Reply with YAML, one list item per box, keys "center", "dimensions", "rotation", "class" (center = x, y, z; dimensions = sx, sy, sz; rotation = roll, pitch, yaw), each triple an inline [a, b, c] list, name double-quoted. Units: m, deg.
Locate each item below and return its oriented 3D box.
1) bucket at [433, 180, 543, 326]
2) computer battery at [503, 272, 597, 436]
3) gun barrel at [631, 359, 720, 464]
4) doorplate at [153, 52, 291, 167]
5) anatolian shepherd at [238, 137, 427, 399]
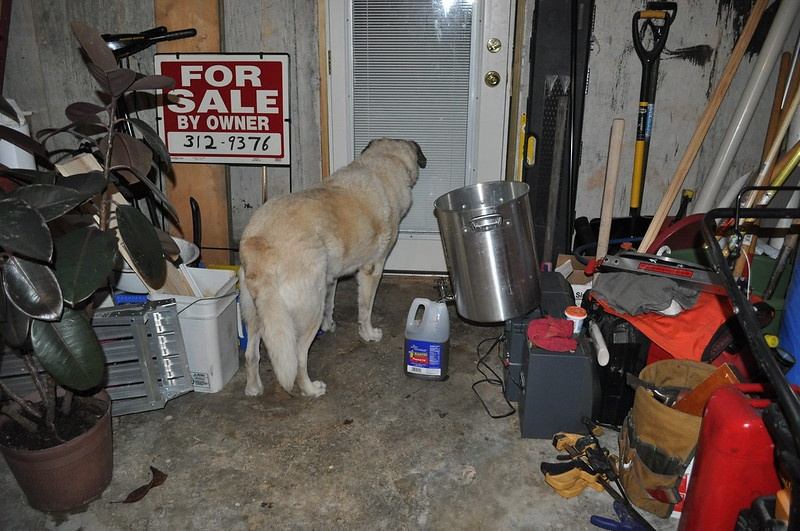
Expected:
- center: [0.596, -0.005, 3.915]
  dimensions: [0.605, 1.044, 0.698]
  rotation: [6, 16, 10]
  class: "bucket"
- center: [0.907, 0.580, 3.464]
  dimensions: [0.618, 0.563, 1.060]
  rotation: [7, 50, -11]
  class: "computer battery"
- center: [1.502, 0.726, 3.073]
  dimensions: [0.474, 0.375, 0.468]
  rotation: [-1, 26, 1]
  class: "gun barrel"
- center: [-1.395, -1.252, 4.462]
  dimensions: [1.024, 0.916, 0.109]
  rotation: [-3, -10, -13]
  class: "doorplate"
- center: [-0.481, -0.021, 3.947]
  dimensions: [0.562, 1.337, 1.501]
  rotation: [15, 31, 29]
  class: "anatolian shepherd"
